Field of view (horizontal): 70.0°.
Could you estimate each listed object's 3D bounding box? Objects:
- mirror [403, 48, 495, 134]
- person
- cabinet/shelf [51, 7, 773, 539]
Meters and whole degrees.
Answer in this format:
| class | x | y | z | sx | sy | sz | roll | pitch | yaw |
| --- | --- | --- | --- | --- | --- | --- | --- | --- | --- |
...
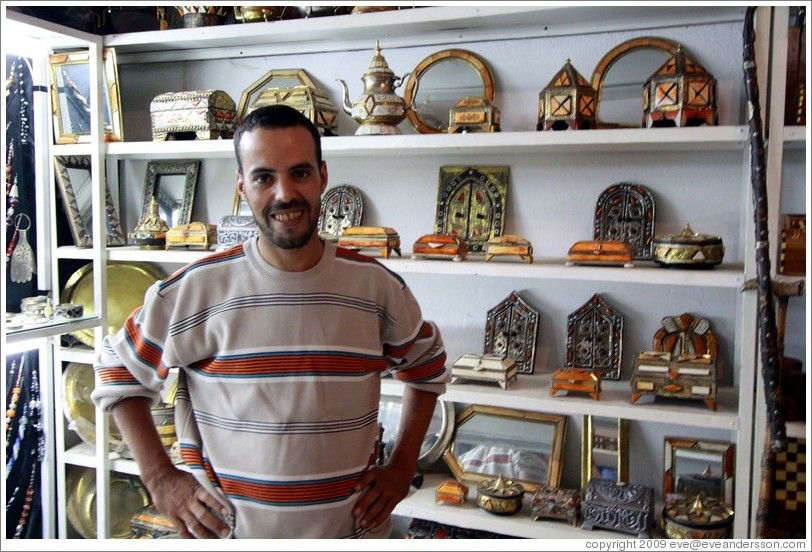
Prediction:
| class | x | y | z | sx | sy | sz | roll | pitch | yaw |
| --- | --- | --- | --- | --- | --- | --- | --- | --- | --- |
| mirror | 0.218 | -0.854 | 2.698 | 0.478 | 0.479 | 0.068 | 3 | 3 | 11 |
| person | -0.422 | 0.365 | 1.873 | 1.094 | 1.002 | 0.337 | 1 | 5 | 0 |
| cabinet/shelf | 0.177 | -0.052 | 2.404 | 2.698 | 2.494 | 0.864 | 0 | 4 | 1 |
